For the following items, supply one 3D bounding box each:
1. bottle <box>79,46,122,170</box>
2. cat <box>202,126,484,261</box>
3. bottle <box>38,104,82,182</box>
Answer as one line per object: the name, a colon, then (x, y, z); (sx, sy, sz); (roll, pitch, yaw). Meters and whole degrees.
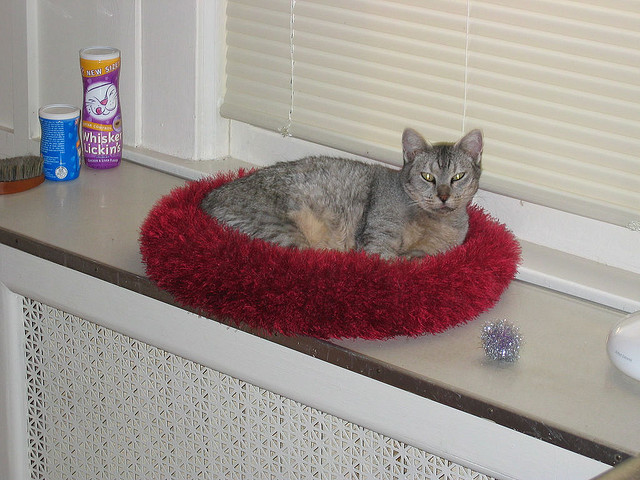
bottle: (-0.548, -0.319, 1.640); (0.097, 0.283, 0.072); (-4, 30, -17)
cat: (0.056, -0.114, 1.368); (0.512, 0.288, 0.270); (14, 29, 6)
bottle: (-0.644, -0.242, 1.624); (0.141, 0.165, 0.140); (-3, 20, -24)
